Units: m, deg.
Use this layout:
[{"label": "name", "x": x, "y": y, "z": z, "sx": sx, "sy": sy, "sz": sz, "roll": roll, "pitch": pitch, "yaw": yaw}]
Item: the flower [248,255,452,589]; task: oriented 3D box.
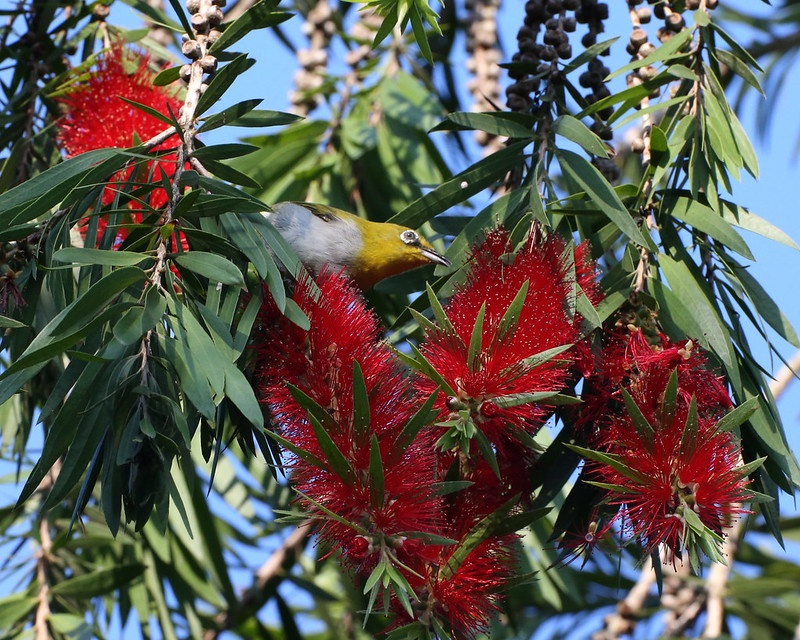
[{"label": "flower", "x": -0.096, "y": 0.190, "z": 2.089, "sx": 0.236, "sy": 0.304, "sz": 0.488, "roll": -16, "pitch": 67, "yaw": -19}]

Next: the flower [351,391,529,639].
[{"label": "flower", "x": 0.074, "y": 0.327, "z": 1.998, "sx": 0.276, "sy": 0.268, "sz": 0.344, "roll": 4, "pitch": -10, "yaw": -33}]

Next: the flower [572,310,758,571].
[{"label": "flower", "x": 0.423, "y": 0.209, "z": 2.015, "sx": 0.290, "sy": 0.288, "sz": 0.325, "roll": 1, "pitch": 38, "yaw": 21}]

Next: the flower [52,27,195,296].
[{"label": "flower", "x": -0.430, "y": -0.275, "z": 2.264, "sx": 0.281, "sy": 0.165, "sz": 0.408, "roll": -3, "pitch": 69, "yaw": 3}]
